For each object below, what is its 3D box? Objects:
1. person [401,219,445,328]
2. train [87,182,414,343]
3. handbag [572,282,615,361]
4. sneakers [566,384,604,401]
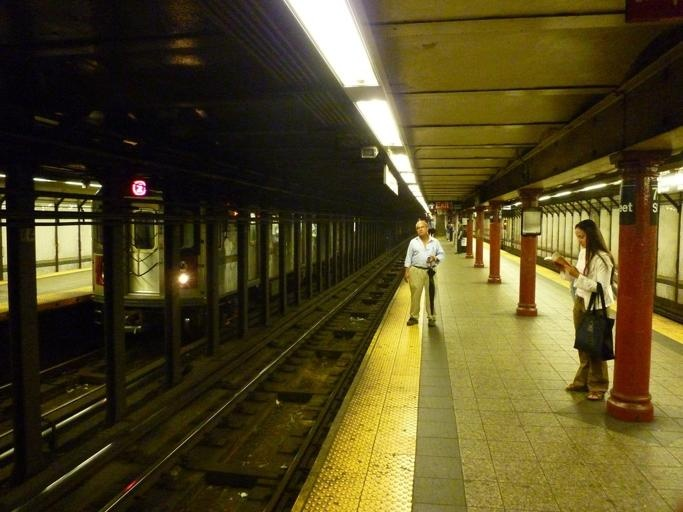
[{"bbox_3d":[1.515,0.298,10.694,0.772,1.968,1.281,-6,7,8],"label":"person"},{"bbox_3d":[-1.318,-0.062,15.130,1.754,2.477,12.810,3,8,23],"label":"train"},{"bbox_3d":[2.944,0.767,6.785,0.429,0.852,0.268,-4,7,23],"label":"handbag"},{"bbox_3d":[3.012,1.683,7.168,0.132,0.175,0.411,5,-1,-41],"label":"sneakers"}]
